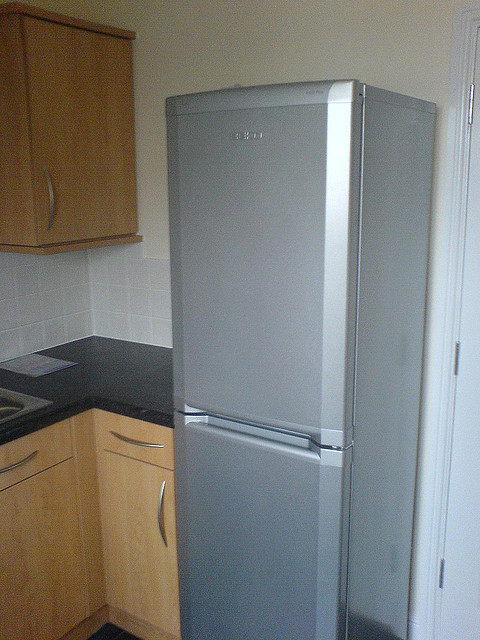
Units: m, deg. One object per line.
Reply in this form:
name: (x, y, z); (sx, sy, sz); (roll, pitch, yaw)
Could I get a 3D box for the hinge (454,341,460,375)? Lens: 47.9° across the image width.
hinge: (0.628, 0.110, 1.570); (0.014, 0.100, 0.004); (-2, 11, -11)

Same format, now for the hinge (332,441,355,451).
hinge: (0.216, 0.266, 1.146); (0.024, 0.007, 0.022); (-7, 10, 45)

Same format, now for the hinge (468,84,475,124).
hinge: (0.605, -0.569, 1.418); (0.011, 0.096, 0.006); (5, 12, 23)
